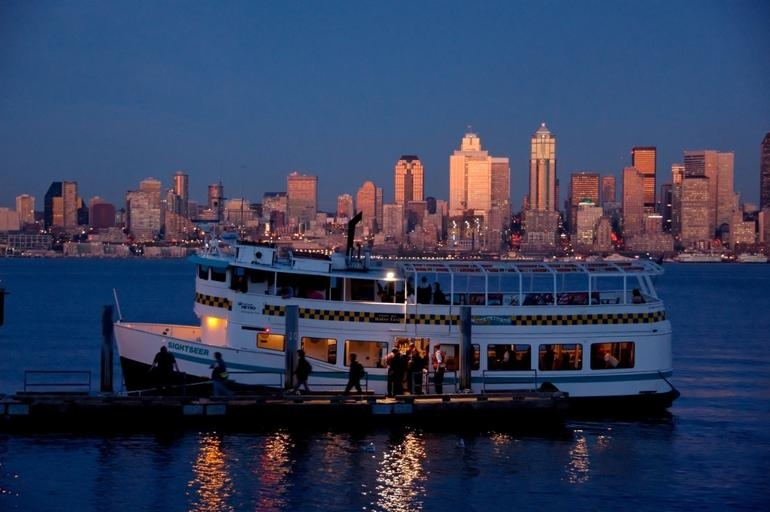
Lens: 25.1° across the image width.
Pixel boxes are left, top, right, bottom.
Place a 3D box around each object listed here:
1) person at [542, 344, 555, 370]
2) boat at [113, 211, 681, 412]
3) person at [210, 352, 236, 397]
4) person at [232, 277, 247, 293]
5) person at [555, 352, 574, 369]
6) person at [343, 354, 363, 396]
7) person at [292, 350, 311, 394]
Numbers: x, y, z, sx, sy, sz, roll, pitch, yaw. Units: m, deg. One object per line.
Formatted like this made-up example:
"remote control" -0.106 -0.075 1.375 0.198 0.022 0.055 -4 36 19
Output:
"person" 9.271 5.777 99.310 0.914 1.445 0.345 1 -5 2
"boat" 0.835 3.574 101.655 32.665 8.943 7.059 1 3 0
"person" -9.312 6.669 98.044 1.040 2.426 0.802 3 -5 -20
"person" -8.444 1.650 99.670 1.058 0.819 0.340 3 -7 1
"person" 10.233 5.970 99.481 1.195 0.876 0.565 0 -8 2
"person" -1.820 6.611 98.208 1.105 2.324 1.415 1 -5 0
"person" -4.659 6.443 98.105 1.103 2.307 0.929 3 -5 -24
